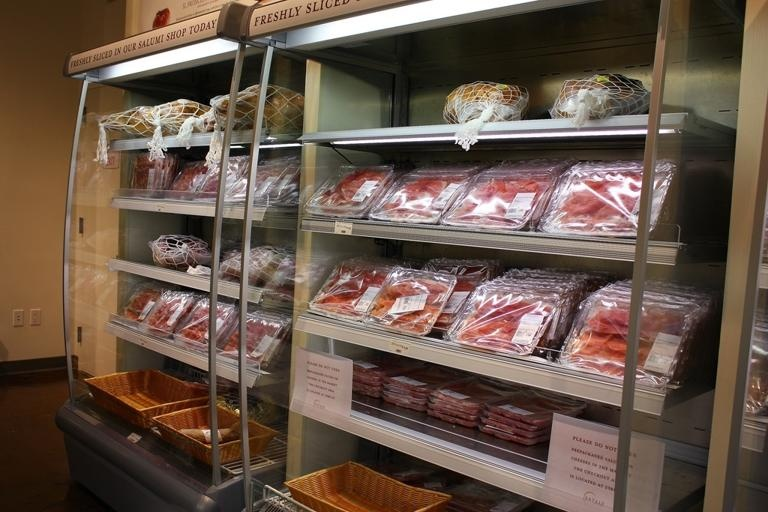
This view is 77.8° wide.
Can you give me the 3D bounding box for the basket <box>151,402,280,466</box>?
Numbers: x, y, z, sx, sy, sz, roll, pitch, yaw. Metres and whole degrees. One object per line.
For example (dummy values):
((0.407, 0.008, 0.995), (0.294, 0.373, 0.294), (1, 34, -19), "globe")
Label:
((-0.893, 0.902, 2.369), (0.390, 0.122, 0.607), (-1, 5, -45), "basket")
